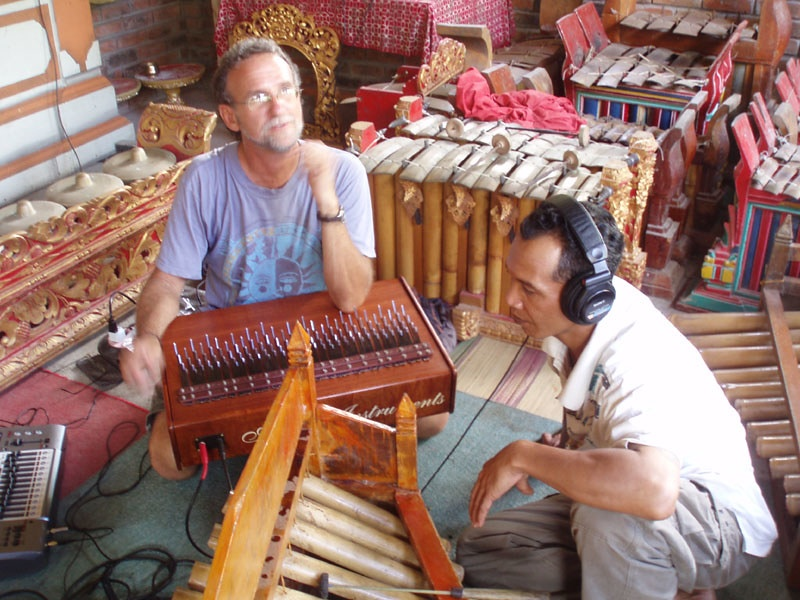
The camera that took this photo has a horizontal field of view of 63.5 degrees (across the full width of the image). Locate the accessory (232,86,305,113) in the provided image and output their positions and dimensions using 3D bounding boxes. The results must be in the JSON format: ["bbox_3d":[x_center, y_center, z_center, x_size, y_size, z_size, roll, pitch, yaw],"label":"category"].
[{"bbox_3d":[-0.570,-0.930,2.954,0.315,0.087,0.142,-19,33,-37],"label":"accessory"}]

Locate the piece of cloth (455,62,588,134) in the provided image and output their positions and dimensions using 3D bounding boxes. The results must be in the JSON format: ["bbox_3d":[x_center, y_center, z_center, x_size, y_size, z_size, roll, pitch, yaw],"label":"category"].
[{"bbox_3d":[0.859,-1.424,4.756,0.858,0.287,0.630,9,43,8],"label":"piece of cloth"}]

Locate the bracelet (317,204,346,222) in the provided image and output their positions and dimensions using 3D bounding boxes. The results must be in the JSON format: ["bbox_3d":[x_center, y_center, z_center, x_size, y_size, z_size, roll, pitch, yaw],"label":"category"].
[{"bbox_3d":[-0.324,-0.400,2.941,0.081,0.049,0.084,4,17,29],"label":"bracelet"}]

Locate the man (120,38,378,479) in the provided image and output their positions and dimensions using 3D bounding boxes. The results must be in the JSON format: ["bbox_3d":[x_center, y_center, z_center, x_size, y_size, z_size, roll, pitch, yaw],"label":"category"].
[{"bbox_3d":[-0.714,-0.163,2.999,1.279,1.775,1.070,-11,34,-25],"label":"man"}]

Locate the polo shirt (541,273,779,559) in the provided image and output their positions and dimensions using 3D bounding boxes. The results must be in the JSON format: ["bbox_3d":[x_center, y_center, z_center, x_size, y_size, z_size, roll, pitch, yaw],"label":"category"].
[{"bbox_3d":[0.986,0.468,2.428,0.548,0.866,0.863,-29,13,13],"label":"polo shirt"}]

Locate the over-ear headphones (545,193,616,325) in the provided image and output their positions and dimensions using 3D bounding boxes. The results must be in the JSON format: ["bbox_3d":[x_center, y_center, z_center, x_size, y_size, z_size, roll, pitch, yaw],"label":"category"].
[{"bbox_3d":[0.604,-0.125,2.172,0.154,0.373,0.406,-22,7,-8],"label":"over-ear headphones"}]
